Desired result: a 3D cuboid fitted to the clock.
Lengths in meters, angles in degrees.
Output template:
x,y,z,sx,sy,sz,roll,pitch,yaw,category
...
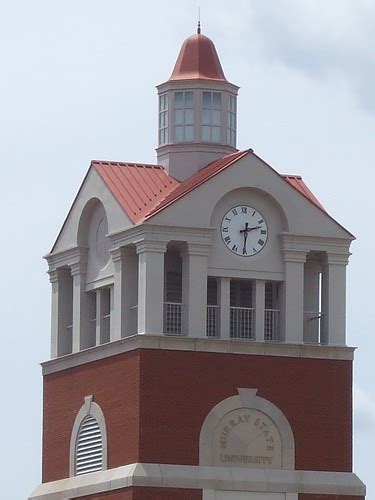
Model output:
x,y,z,sx,sy,sz,roll,pitch,yaw,category
1.531,-0.493,49.373,1.326,1.530,0.127,4,26,13,clock
